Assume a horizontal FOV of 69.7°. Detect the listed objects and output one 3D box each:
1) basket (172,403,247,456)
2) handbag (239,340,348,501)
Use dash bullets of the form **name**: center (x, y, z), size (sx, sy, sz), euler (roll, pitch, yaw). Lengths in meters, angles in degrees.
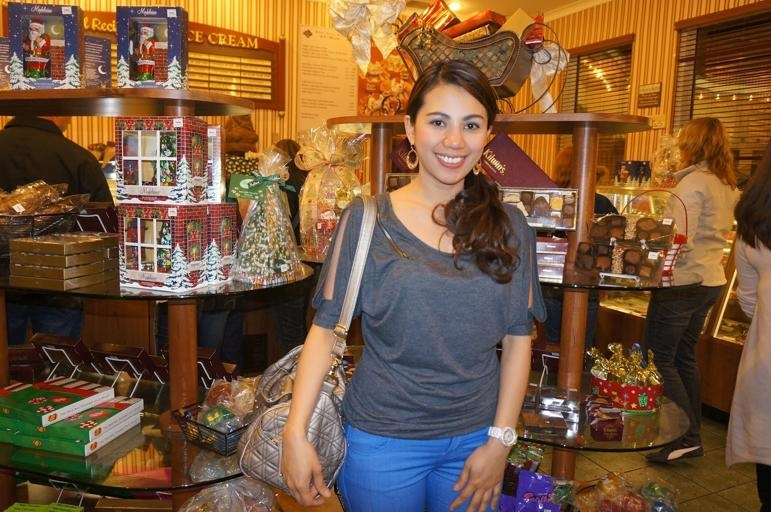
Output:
- **basket**: center (-0.756, 0.736, 2.363), size (0.319, 0.145, 0.097), euler (6, 10, 25)
- **handbag**: center (-0.339, 0.589, 2.056), size (0.386, 0.501, 0.290), euler (1, 9, -3)
